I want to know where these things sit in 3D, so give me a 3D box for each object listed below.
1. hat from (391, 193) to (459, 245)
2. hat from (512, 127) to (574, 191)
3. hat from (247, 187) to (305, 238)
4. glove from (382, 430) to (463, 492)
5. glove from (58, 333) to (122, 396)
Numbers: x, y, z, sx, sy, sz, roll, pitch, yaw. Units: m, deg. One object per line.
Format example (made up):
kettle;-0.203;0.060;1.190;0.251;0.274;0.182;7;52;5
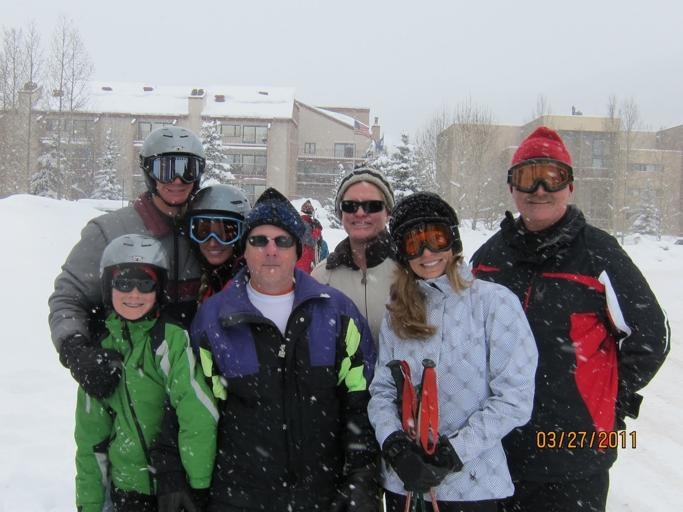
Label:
hat;0.863;-0.395;8.675;0.439;0.514;0.608;-21;-5;13
hat;2.227;-1.079;9.429;0.517;0.551;0.772;1;-10;8
hat;-0.663;-0.446;8.670;0.429;0.492;0.565;0;1;-2
glove;0.758;1.857;8.011;0.568;0.282;0.574;47;36;18
glove;-2.490;1.077;8.645;0.632;0.467;0.288;43;3;8
